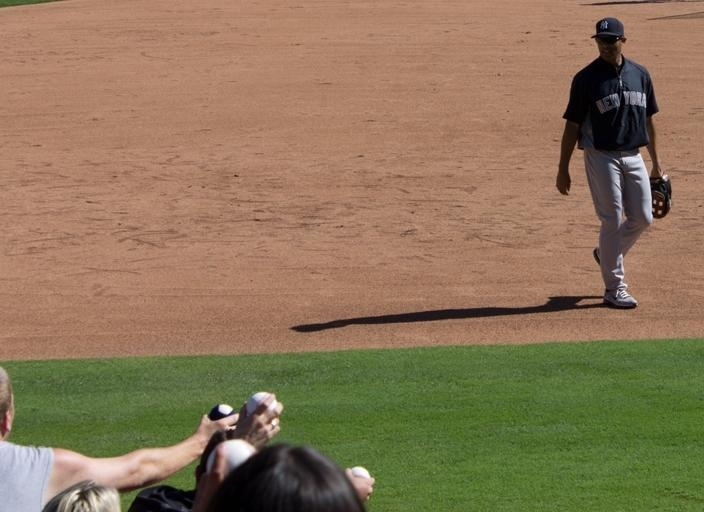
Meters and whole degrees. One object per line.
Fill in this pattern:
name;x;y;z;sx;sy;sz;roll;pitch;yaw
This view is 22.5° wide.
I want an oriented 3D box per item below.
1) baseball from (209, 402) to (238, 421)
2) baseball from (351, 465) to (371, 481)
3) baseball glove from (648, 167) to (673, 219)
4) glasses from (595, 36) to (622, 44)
baseball;-1.487;1.770;20.375;0.240;0.196;0.216;9;-9;1
baseball;0.095;2.419;19.908;0.222;0.121;0.142;26;44;28
baseball glove;4.162;-0.855;23.937;0.450;0.501;0.504;5;16;14
glasses;3.374;-2.842;23.195;0.358;0.115;0.233;-2;3;5
